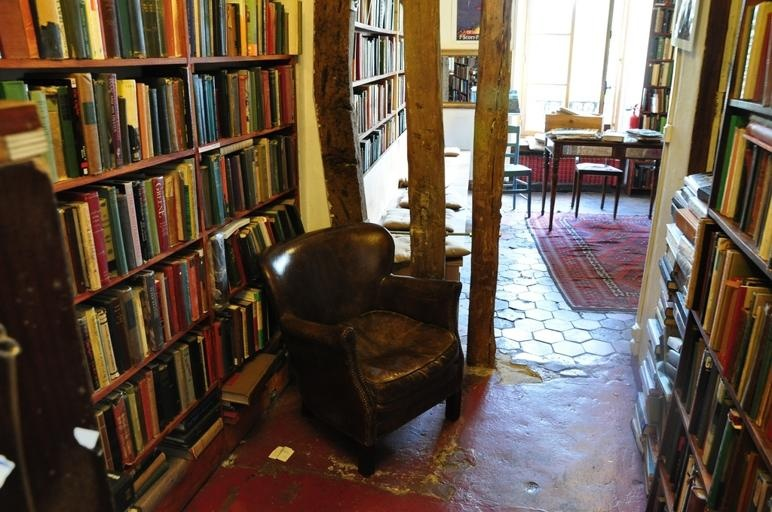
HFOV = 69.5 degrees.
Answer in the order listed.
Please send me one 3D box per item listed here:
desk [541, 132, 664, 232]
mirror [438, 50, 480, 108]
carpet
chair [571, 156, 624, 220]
[{"bbox_3d":[2.498,-0.850,6.393,1.327,1.092,0.790,5,27,13],"label":"desk"},{"bbox_3d":[0.964,-2.339,7.377,0.433,0.633,0.217,0,21,-1],"label":"mirror"},{"bbox_3d":[2.047,0.081,5.317,0.858,0.019,1.463,4,23,5],"label":"carpet"},{"bbox_3d":[2.652,-0.852,6.977,0.541,0.699,0.709,4,21,12],"label":"chair"}]
